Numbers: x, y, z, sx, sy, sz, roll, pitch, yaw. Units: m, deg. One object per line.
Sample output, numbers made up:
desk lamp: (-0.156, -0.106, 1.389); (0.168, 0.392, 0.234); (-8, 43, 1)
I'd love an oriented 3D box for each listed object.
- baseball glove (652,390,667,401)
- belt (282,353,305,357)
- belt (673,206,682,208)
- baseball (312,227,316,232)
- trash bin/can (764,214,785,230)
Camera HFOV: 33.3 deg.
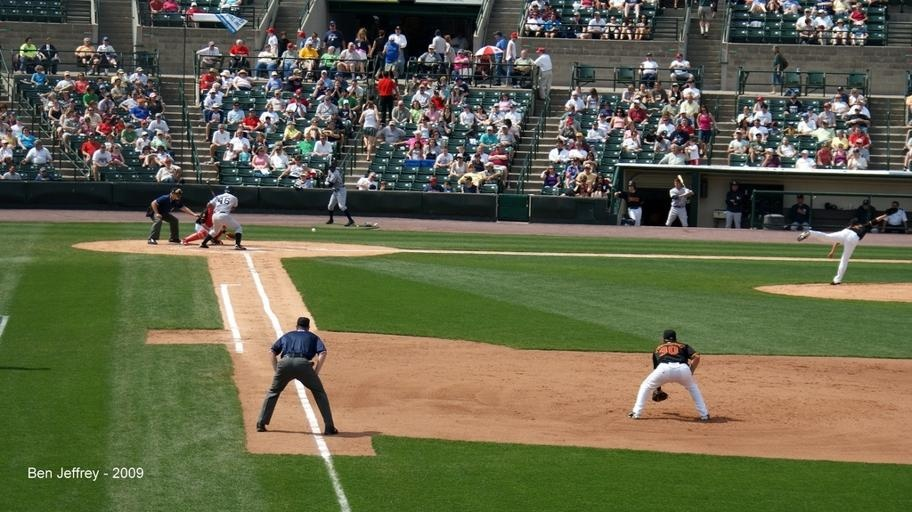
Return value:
baseball glove: (6.369, 4.329, 47.417); (0.478, 0.374, 0.327); (-2, 0, -39)
belt: (-4.792, 2.898, 45.132); (0.584, 0.143, 0.064); (2, 7, 0)
belt: (9.851, -2.176, 67.656); (0.396, 0.102, 0.100); (3, 6, 8)
baseball: (-6.000, -1.104, 64.277); (0.173, 0.075, 0.154); (-1, 7, -7)
trash bin/can: (14.097, -1.503, 67.497); (0.813, 0.574, 0.733); (0, -1, -17)
